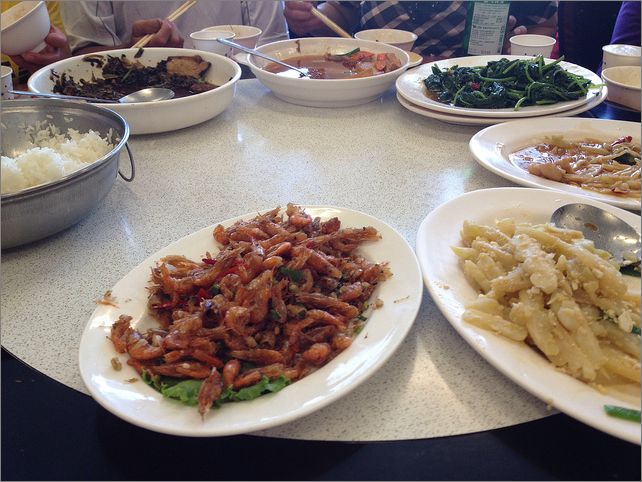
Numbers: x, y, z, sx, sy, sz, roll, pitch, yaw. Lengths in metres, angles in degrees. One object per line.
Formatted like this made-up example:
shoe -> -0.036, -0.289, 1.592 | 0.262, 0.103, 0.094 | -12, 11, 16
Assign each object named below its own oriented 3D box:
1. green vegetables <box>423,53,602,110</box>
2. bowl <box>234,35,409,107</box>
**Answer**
green vegetables -> 0.919, -0.776, 2.363 | 1.028, 0.245, 0.745 | -8, 16, -30
bowl -> -0.021, -0.922, 2.590 | 0.794, 0.169, 0.623 | 2, 39, 2
